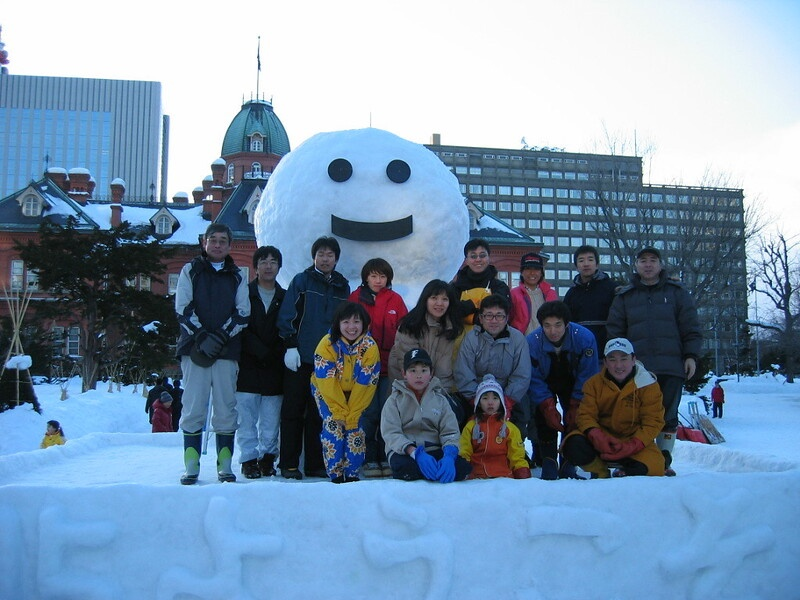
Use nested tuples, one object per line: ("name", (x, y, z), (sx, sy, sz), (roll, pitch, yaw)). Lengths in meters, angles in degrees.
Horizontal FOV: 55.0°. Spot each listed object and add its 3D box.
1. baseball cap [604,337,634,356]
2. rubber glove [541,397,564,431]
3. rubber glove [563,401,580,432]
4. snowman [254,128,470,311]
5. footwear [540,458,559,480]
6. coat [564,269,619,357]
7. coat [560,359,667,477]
("baseball cap", (1.716, 0.370, 6.003), (0.203, 0.141, 0.137), (2, -3, 7))
("rubber glove", (1.277, 0.929, 6.304), (0.078, 0.267, 0.185), (-13, -11, -29))
("rubber glove", (1.427, 0.963, 6.403), (0.073, 0.227, 0.159), (18, -18, -1))
("snowman", (-0.196, -0.820, 7.943), (2.116, 2.070, 2.089), (5, -4, -18))
("footwear", (1.136, 1.279, 5.824), (0.110, 0.141, 0.132), (2, -3, 5))
("coat", (1.783, 0.142, 7.169), (0.543, 0.828, 0.307), (-1, -3, 31))
("coat", (1.782, 0.872, 6.284), (0.886, 1.173, 0.808), (4, -1, 26))
